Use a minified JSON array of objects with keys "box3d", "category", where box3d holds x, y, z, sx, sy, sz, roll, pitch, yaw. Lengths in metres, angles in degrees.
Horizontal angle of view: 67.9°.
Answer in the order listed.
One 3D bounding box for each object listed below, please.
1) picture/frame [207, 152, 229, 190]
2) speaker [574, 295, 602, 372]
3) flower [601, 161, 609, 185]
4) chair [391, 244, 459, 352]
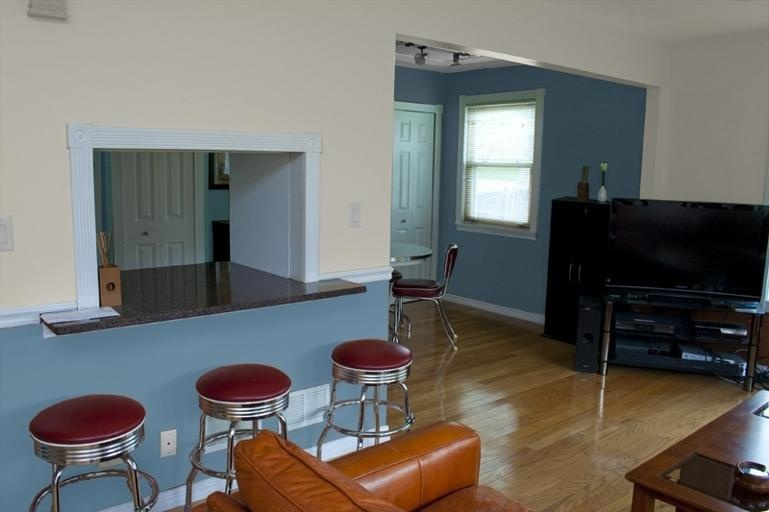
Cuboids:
[{"box3d":[-1.791,-0.961,6.306,0.043,0.404,0.317,9,13,36],"category":"picture/frame"},{"box3d":[1.952,0.751,5.471,0.238,0.701,0.215,6,15,16],"category":"speaker"},{"box3d":[2.325,-0.872,6.081,0.082,0.249,0.366,6,15,19],"category":"flower"},{"box3d":[0.450,0.411,6.193,0.775,0.947,0.632,3,7,12],"category":"chair"}]
